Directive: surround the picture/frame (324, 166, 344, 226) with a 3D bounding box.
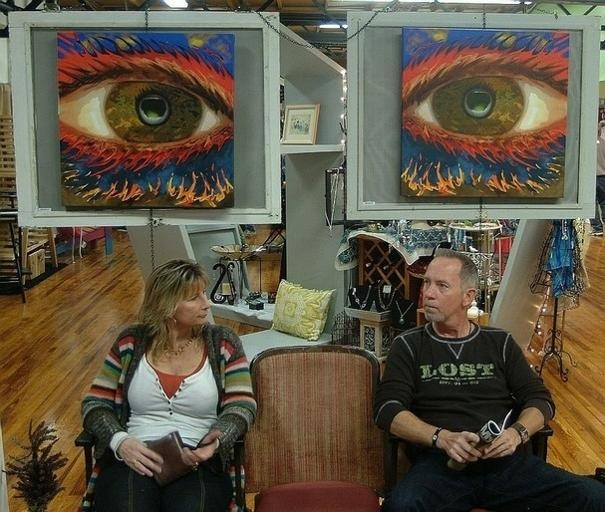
[{"bbox_3d":[0.299,-0.605,4.632,0.177,0.422,0.116,-5,5,-36],"label":"picture/frame"}]

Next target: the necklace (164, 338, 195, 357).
[{"bbox_3d":[-0.489,0.365,1.969,0.126,0.036,0.030,-26,-6,-30],"label":"necklace"}]

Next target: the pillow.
[{"bbox_3d":[-0.046,0.445,3.907,0.590,0.448,0.412,5,8,38],"label":"pillow"}]

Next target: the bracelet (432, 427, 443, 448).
[{"bbox_3d":[0.483,0.652,1.746,0.029,0.059,0.055,4,11,27],"label":"bracelet"}]
